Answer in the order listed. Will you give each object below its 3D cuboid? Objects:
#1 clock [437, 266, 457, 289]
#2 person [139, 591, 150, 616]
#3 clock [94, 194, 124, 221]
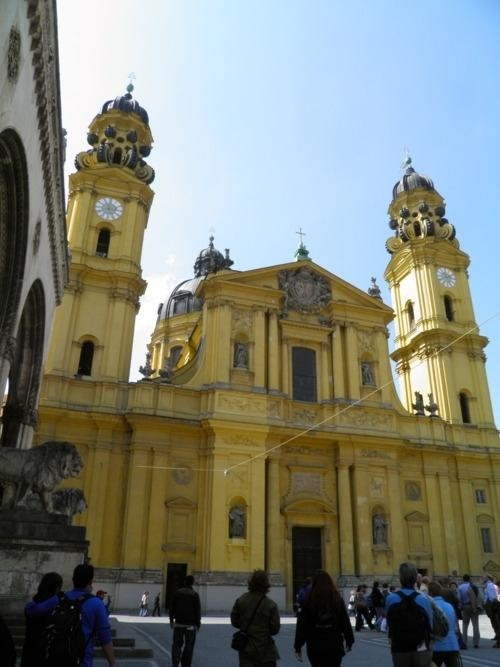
[{"bbox_3d":[12.679,-3.544,33.771,1.568,1.562,0.170,38,-36,2],"label":"clock"},{"bbox_3d":[-4.012,10.097,19.692,0.370,0.764,1.361,4,-24,-9],"label":"person"},{"bbox_3d":[-7.568,-6.542,27.602,1.383,1.341,0.173,-20,-15,-28],"label":"clock"}]
